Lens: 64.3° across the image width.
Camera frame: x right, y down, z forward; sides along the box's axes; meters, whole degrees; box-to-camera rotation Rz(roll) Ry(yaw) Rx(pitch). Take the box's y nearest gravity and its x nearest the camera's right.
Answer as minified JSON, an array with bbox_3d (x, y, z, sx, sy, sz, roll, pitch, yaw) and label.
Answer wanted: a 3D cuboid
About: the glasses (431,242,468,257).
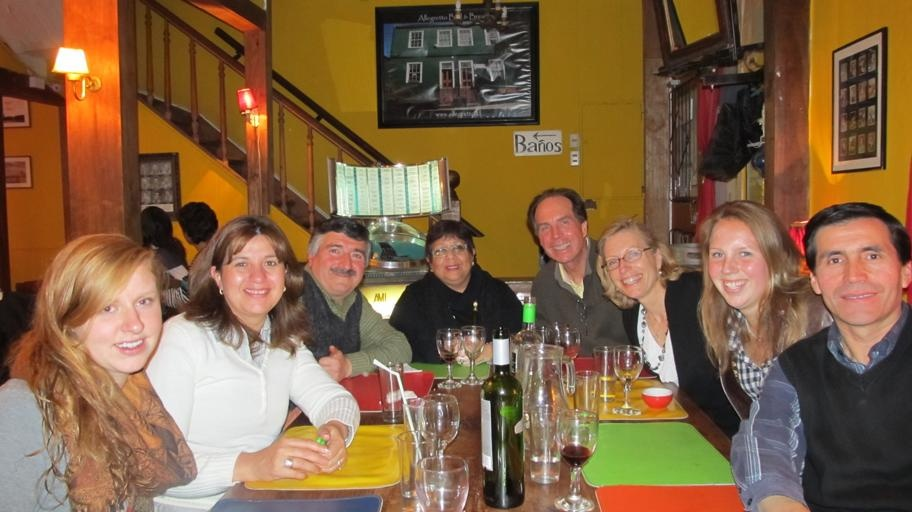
[{"bbox_3d":[-0.043,-0.044,5.026,0.242,0.078,0.039,-2,-5,-2],"label":"glasses"}]

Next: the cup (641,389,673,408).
[{"bbox_3d":[1.086,0.756,3.900,0.117,0.053,0.115,-3,0,0],"label":"cup"}]

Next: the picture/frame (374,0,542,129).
[{"bbox_3d":[0.085,-2.410,8.917,1.651,1.071,0.150,-1,9,4],"label":"picture/frame"}]

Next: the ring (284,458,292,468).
[{"bbox_3d":[-0.803,0.995,3.478,0.043,0.031,0.035,10,-31,-13],"label":"ring"}]

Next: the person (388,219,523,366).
[{"bbox_3d":[-0.035,0.251,5.195,1.077,0.910,0.600,-3,6,2],"label":"person"}]

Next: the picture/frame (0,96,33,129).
[{"bbox_3d":[-5.594,-1.825,9.191,0.326,0.388,0.130,-2,-5,-2],"label":"picture/frame"}]

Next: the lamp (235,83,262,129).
[{"bbox_3d":[-2.208,-1.544,7.602,0.195,0.411,0.332,3,-7,-45],"label":"lamp"}]
